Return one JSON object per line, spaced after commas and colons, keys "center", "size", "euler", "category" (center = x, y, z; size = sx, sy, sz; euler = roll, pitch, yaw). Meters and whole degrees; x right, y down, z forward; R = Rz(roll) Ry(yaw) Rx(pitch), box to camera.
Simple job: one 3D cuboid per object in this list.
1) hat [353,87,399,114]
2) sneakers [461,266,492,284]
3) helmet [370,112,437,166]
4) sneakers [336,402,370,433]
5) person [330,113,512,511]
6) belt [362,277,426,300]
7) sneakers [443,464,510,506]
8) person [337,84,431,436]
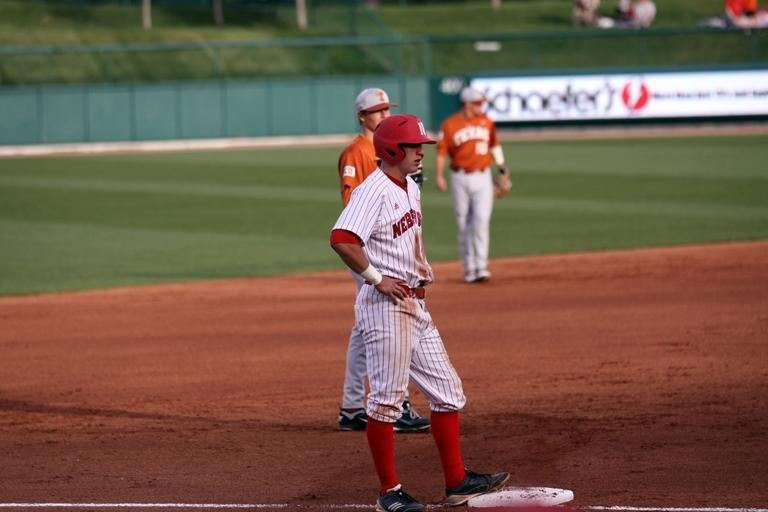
{"center": [-0.092, -1.337, 14.064], "size": [0.316, 0.163, 0.219], "euler": [1, 12, 10], "category": "hat"}
{"center": [0.966, 0.220, 17.203], "size": [0.110, 0.136, 0.331], "euler": [-6, -3, -29], "category": "sneakers"}
{"center": [0.157, -0.946, 12.987], "size": [0.502, 0.359, 0.424], "euler": [16, 20, 40], "category": "helmet"}
{"center": [-0.275, 1.413, 13.984], "size": [0.316, 0.201, 0.123], "euler": [-2, 4, -1], "category": "sneakers"}
{"center": [0.146, 0.447, 12.876], "size": [1.058, 3.063, 0.731], "euler": [-4, 10, -3], "category": "person"}
{"center": [0.090, 0.262, 12.793], "size": [0.309, 0.102, 0.235], "euler": [20, 3, 30], "category": "belt"}
{"center": [0.720, 1.839, 13.054], "size": [0.582, 0.250, 0.209], "euler": [-21, 4, -16], "category": "sneakers"}
{"center": [0.022, 0.037, 13.926], "size": [1.048, 3.008, 0.946], "euler": [0, -2, 1], "category": "person"}
